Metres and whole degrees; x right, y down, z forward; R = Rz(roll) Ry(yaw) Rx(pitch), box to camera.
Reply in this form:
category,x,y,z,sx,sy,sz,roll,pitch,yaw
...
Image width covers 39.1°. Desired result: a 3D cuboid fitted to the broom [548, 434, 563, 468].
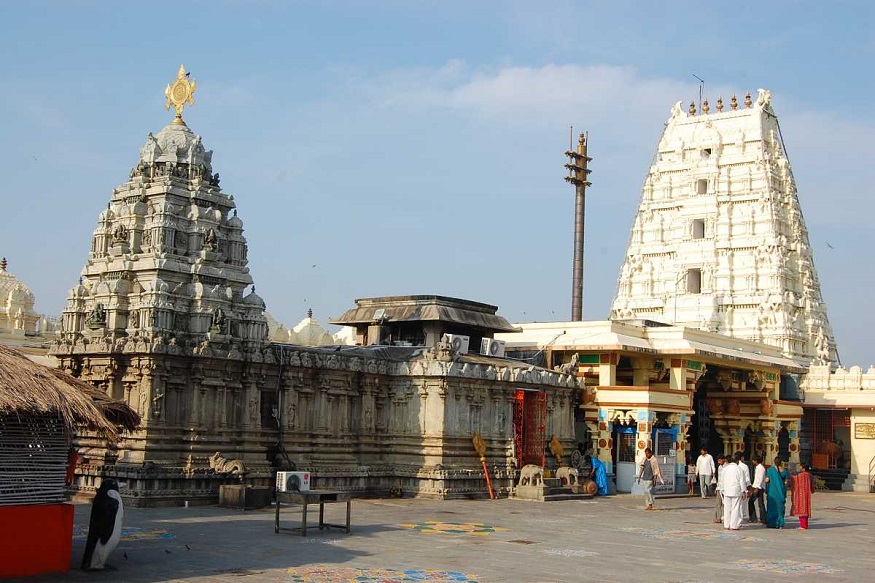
category,x,y,z,sx,sy,sz,roll,pitch,yaw
broom,4.678,6.351,49.386,0.459,1.178,0.682,-3,-13,13

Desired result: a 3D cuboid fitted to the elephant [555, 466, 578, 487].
category,x,y,z,sx,sy,sz,roll,pitch,yaw
elephant,4.918,7.132,47.430,0.784,0.913,1.166,-1,-11,5

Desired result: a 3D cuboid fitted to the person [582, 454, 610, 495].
category,x,y,z,sx,sy,sz,roll,pitch,yaw
person,6.466,7.448,49.988,1.134,1.192,0.532,-3,-1,3
